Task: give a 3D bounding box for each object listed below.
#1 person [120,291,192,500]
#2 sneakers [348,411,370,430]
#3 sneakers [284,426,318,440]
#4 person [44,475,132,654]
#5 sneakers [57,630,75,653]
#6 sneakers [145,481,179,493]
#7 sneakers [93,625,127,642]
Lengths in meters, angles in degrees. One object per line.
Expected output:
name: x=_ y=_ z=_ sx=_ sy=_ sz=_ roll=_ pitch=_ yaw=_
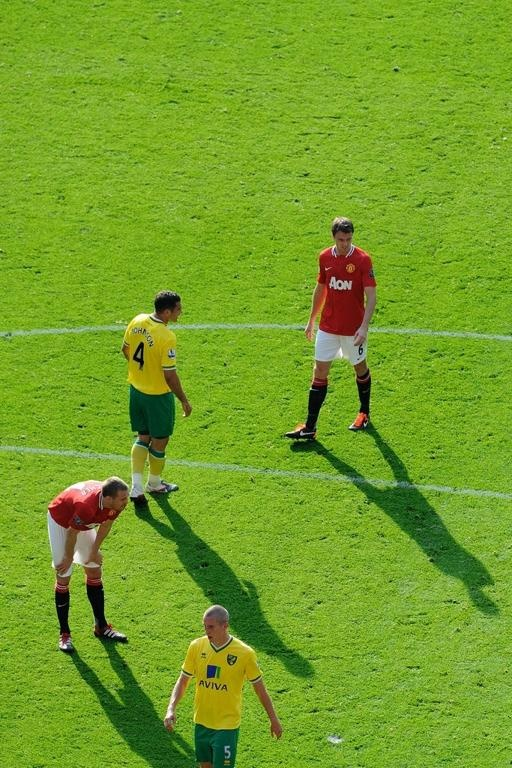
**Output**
person: x=-0.807 y=0.204 z=10.569 sx=0.469 sy=1.877 sz=0.887 roll=-3 pitch=48 yaw=-9
sneakers: x=0.895 y=0.335 z=11.628 sx=0.086 sy=0.103 sz=0.245 roll=5 pitch=9 yaw=20
sneakers: x=0.377 y=0.417 z=11.515 sx=0.295 sy=0.152 sz=0.108 roll=3 pitch=8 yaw=-7
person: x=-1.211 y=1.353 z=9.477 sx=0.705 sy=1.366 sz=0.458 roll=19 pitch=38 yaw=17
sneakers: x=-1.348 y=1.843 z=9.421 sx=0.071 sy=0.069 sz=0.160 roll=-5 pitch=23 yaw=-19
sneakers: x=-0.777 y=0.863 z=10.892 sx=0.270 sy=0.117 sz=0.098 roll=-3 pitch=35 yaw=-7
sneakers: x=-1.047 y=1.810 z=9.552 sx=0.275 sy=0.119 sz=0.098 roll=7 pitch=12 yaw=4
